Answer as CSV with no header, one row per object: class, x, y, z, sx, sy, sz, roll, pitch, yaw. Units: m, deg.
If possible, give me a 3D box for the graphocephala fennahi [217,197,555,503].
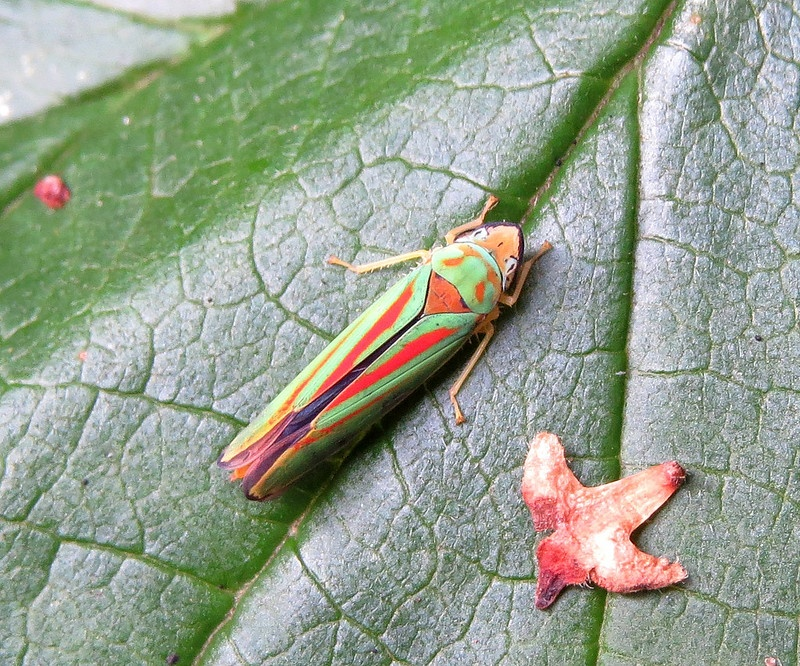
graphocephala fennahi,-0.061,0.012,4.605,1.890,0.428,1.068,-40,84,-8
